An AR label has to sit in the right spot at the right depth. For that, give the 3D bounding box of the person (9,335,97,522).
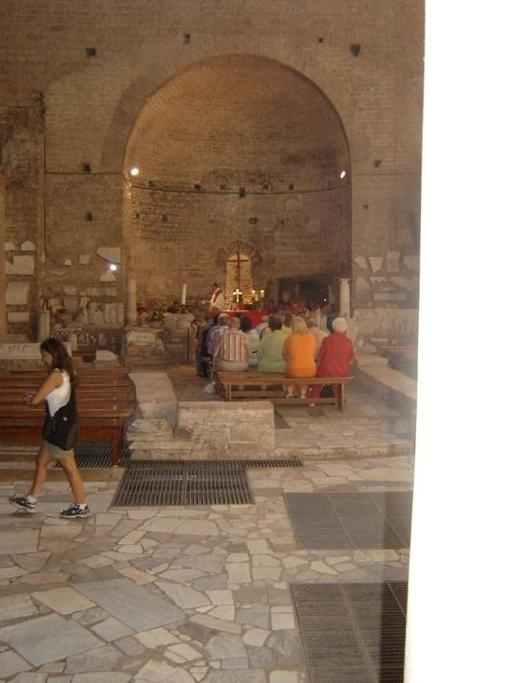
[{"bbox_3d":[-1.204,0.513,4.160,0.433,1.069,0.409,-2,5,-35],"label":"person"}]

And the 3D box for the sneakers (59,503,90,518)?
[{"bbox_3d":[-1.065,1.015,4.173,0.190,0.091,0.069,3,-5,-5],"label":"sneakers"}]

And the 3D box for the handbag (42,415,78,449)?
[{"bbox_3d":[-1.126,0.532,4.038,0.187,0.209,0.106,0,5,-16],"label":"handbag"}]

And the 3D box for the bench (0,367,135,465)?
[{"bbox_3d":[-1.619,0.582,6.152,1.065,0.539,0.884,0,1,0],"label":"bench"}]
